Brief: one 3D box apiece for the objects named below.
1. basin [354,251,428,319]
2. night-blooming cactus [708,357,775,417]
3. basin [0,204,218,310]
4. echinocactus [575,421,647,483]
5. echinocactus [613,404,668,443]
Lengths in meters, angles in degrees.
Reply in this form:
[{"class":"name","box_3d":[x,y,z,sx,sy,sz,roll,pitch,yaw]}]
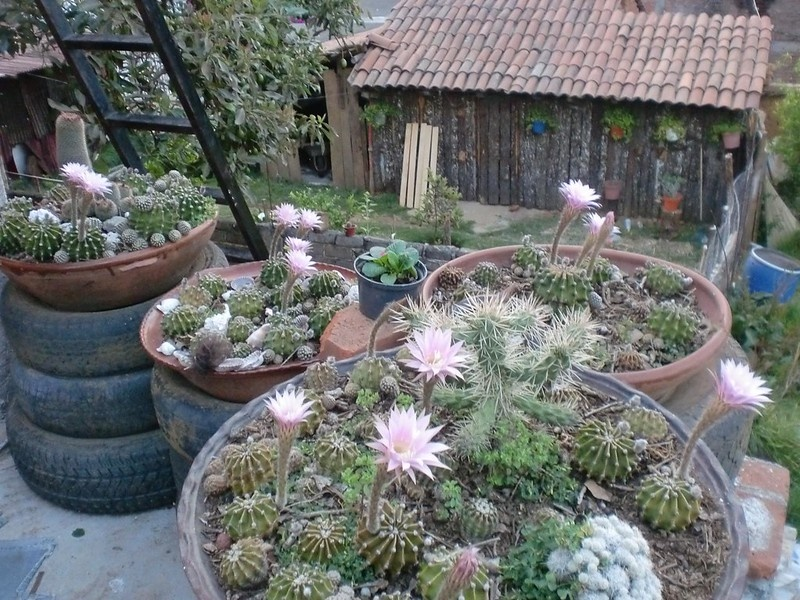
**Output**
[{"class":"basin","box_3d":[-0.054,-0.038,3.652,0.324,0.268,0.358,6,21,0]},{"class":"night-blooming cactus","box_3d":[1.272,0.330,2.409,0.163,0.199,0.198,11,28,24]},{"class":"basin","box_3d":[-1.723,-0.151,3.888,0.711,0.254,0.780,0,21,0]},{"class":"echinocactus","box_3d":[0.828,0.599,2.657,0.216,0.090,0.264,-5,66,-1]},{"class":"echinocactus","box_3d":[1.041,0.514,2.741,0.137,0.077,0.160,-9,33,-15]}]
